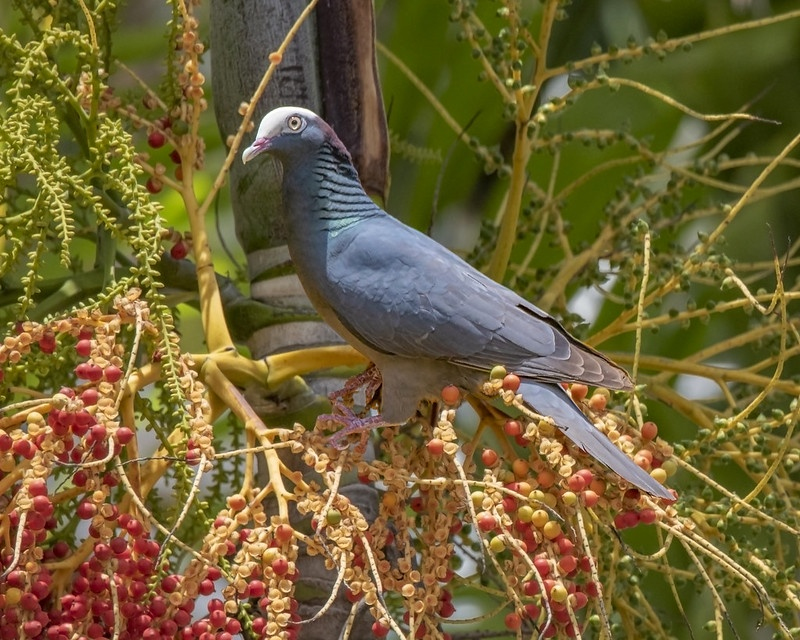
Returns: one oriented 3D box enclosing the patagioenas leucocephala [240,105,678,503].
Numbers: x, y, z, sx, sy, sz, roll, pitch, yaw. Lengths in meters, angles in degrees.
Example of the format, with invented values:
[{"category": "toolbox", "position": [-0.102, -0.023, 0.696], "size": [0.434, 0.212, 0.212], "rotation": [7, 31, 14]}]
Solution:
[{"category": "patagioenas leucocephala", "position": [0.104, -0.049, 2.648], "size": [0.775, 0.586, 0.248], "rotation": [8, 19, 6]}]
